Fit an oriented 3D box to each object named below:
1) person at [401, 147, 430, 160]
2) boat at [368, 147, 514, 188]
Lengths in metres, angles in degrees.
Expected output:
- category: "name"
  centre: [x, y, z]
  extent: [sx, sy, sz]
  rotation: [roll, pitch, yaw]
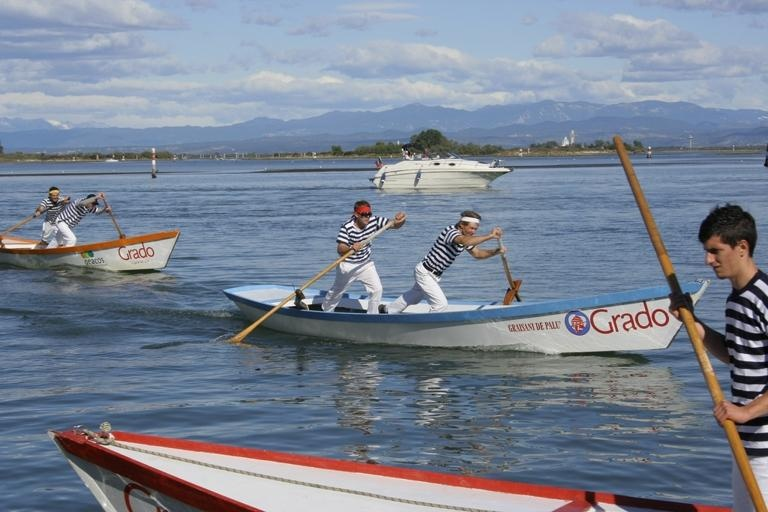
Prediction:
- category: "person"
  centre: [2.169, -7.241, 65.159]
  extent: [2.509, 0.837, 1.199]
  rotation: [2, 2, 3]
- category: "boat"
  centre: [3.541, -5.839, 63.842]
  extent: [10.249, 2.625, 3.543]
  rotation: [1, 6, 22]
